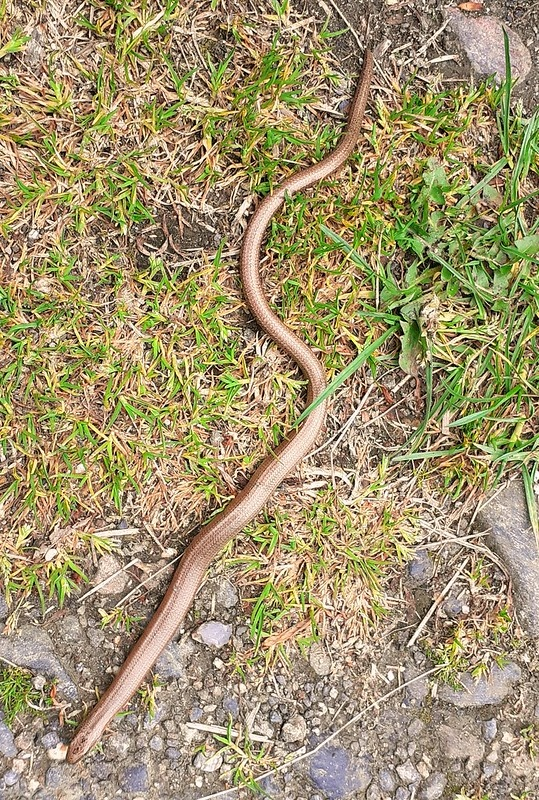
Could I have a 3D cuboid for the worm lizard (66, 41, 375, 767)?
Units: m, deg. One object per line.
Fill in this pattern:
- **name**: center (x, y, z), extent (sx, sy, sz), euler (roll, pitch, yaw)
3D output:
- **worm lizard**: center (-0.230, -0.049, 2.459), extent (0.125, 0.483, 2.822), euler (10, 76, 47)
